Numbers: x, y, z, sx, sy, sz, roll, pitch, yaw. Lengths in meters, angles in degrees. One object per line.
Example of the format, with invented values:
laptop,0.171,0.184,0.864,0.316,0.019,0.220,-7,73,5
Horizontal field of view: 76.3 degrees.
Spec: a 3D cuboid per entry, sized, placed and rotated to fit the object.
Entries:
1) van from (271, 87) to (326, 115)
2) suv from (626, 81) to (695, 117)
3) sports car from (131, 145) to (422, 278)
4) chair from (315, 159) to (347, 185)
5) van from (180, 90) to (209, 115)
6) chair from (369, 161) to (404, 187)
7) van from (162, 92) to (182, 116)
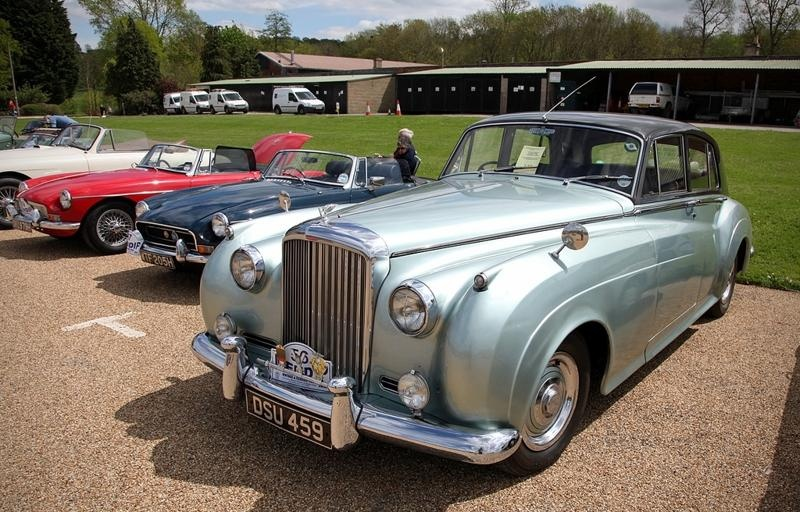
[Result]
van,-7.922,-12.004,39.834,3.538,1.824,2.096,8,17,34
suv,15.798,-9.800,31.652,4.333,1.942,2.359,-23,26,-37
sports car,-1.641,-0.667,8.064,4.338,1.495,1.838,-9,14,-39
chair,-1.014,-1.298,7.724,0.369,0.306,0.379,4,18,18
van,-17.837,-13.736,45.780,3.179,2.052,1.900,10,20,36
chair,-0.241,-1.303,8.125,0.404,0.389,0.413,5,7,43
van,-20.881,-14.239,47.721,2.753,1.648,1.651,10,15,41
